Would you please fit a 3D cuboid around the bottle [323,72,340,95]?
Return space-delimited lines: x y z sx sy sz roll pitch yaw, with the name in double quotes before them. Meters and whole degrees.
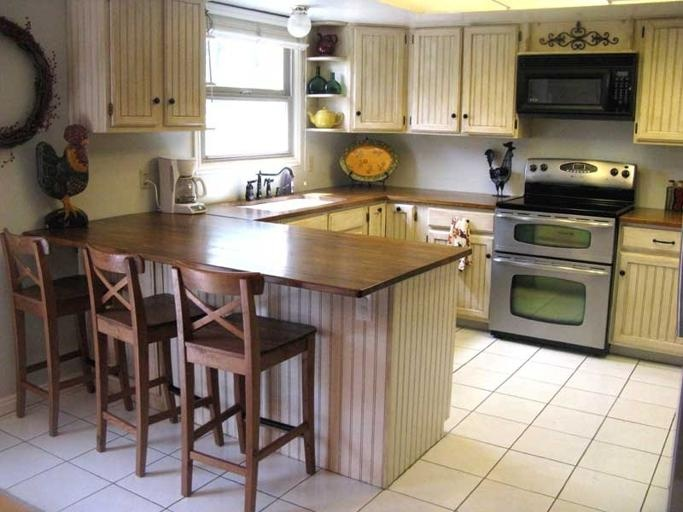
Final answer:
"bottle" -0.091 -1.531 4.856 0.134 0.185 0.131 1 16 0

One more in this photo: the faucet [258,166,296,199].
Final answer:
"faucet" -0.563 -0.619 4.684 0.411 0.272 0.154 -14 23 -40

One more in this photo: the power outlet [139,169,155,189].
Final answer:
"power outlet" -1.364 -0.543 3.838 0.106 0.149 0.149 7 11 15

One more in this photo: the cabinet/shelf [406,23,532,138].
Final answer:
"cabinet/shelf" 1.099 -1.501 4.614 0.911 0.829 0.413 5 10 27

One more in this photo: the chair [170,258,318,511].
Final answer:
"chair" -0.520 0.556 2.692 0.721 1.132 0.613 9 18 26

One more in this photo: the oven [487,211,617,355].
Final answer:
"oven" 1.780 0.120 4.541 0.887 1.140 0.815 8 17 32

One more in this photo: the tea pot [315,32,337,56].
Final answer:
"tea pot" -0.123 -1.862 4.893 0.223 0.225 0.178 2 5 10

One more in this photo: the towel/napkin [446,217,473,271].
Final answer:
"towel/napkin" 0.984 -0.083 4.566 0.178 0.450 0.257 -2 16 -9

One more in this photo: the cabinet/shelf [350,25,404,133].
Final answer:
"cabinet/shelf" 0.312 -1.557 4.830 0.481 0.861 0.157 1 16 0

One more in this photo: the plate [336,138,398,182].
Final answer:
"plate" 0.252 -0.900 5.282 0.525 0.426 0.224 2 16 3
